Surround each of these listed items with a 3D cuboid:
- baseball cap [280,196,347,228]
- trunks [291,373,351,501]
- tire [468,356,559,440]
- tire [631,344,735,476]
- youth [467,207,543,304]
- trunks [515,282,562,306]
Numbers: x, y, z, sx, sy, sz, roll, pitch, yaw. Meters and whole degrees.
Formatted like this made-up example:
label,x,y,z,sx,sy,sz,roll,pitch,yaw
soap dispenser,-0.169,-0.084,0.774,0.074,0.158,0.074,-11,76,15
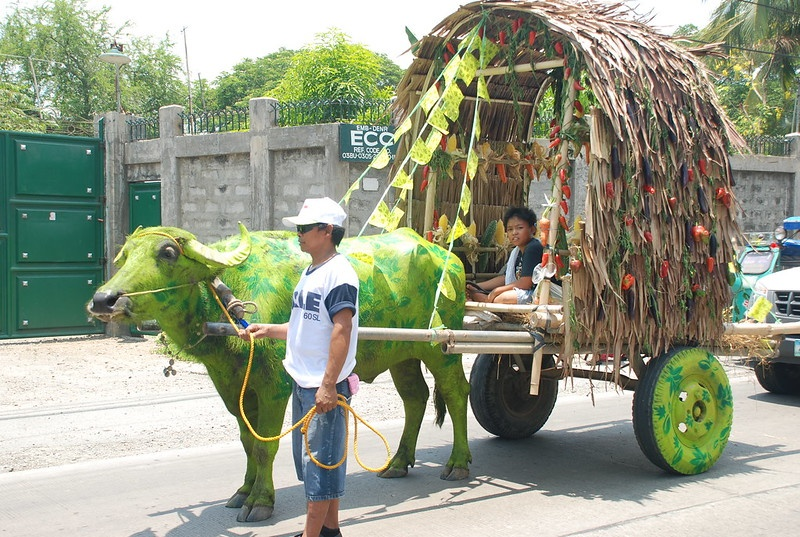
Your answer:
label,x,y,z,sx,sy,sz,roll,pitch,yaw
baseball cap,-0.767,-0.514,7.670,0.434,0.245,0.301,-2,2,-12
trunks,-0.738,1.548,7.580,0.557,1.083,0.415,1,8,5
tire,1.421,1.606,10.407,1.092,1.166,0.382,-4,5,-25
tire,3.183,1.601,9.342,1.246,1.421,0.399,-4,9,-26
youth,1.446,-0.115,9.981,0.970,1.397,1.206,2,-2,-10
trunks,1.600,0.300,9.439,0.385,0.182,0.260,-4,2,-17
